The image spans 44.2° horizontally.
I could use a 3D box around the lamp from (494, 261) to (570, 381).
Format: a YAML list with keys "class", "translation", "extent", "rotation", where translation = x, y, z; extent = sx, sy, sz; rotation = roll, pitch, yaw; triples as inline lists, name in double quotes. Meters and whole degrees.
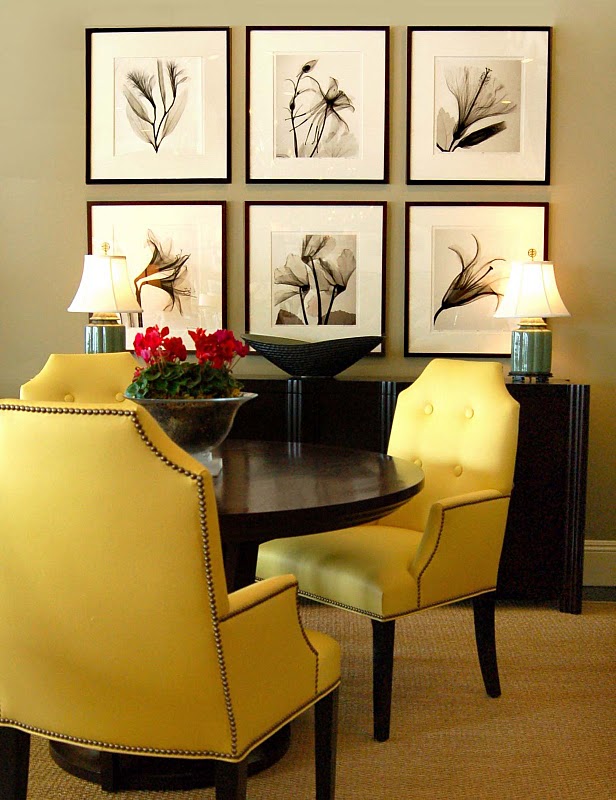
- class: "lamp"
  translation: [0.881, -0.337, 3.011]
  extent: [0.263, 0.514, 0.335]
  rotation: [1, 3, 13]

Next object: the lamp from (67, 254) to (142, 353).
- class: "lamp"
  translation: [-0.809, -0.350, 3.051]
  extent: [0.311, 0.425, 0.286]
  rotation: [3, 10, 14]

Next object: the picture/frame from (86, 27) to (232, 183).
- class: "picture/frame"
  translation: [-0.599, -1.256, 3.171]
  extent: [0.713, 0.646, 0.027]
  rotation: [1, 5, 4]

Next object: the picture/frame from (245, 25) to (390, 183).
- class: "picture/frame"
  translation: [0.061, -1.249, 3.140]
  extent: [0.704, 0.666, 0.029]
  rotation: [1, 5, -2]

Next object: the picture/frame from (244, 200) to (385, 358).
- class: "picture/frame"
  translation: [0.047, -0.527, 3.161]
  extent: [0.828, 0.783, 0.031]
  rotation: [0, 5, 4]

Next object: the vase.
- class: "vase"
  translation: [-0.230, 0.089, 1.717]
  extent: [0.245, 0.160, 0.255]
  rotation: [-7, -18, 36]

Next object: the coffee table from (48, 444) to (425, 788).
- class: "coffee table"
  translation: [-0.124, 0.455, 1.682]
  extent: [0.801, 0.439, 0.766]
  rotation: [0, 2, -3]

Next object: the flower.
- class: "flower"
  translation: [-0.274, -0.075, 1.715]
  extent: [0.216, 0.133, 0.178]
  rotation: [-1, -1, 7]

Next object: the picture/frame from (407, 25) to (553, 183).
- class: "picture/frame"
  translation: [0.726, -1.238, 3.112]
  extent: [0.701, 0.633, 0.026]
  rotation: [1, 3, 4]

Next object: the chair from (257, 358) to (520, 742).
- class: "chair"
  translation: [0.211, 0.352, 2.076]
  extent: [0.716, 0.854, 0.677]
  rotation: [-1, 7, -8]

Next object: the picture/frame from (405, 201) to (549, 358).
- class: "picture/frame"
  translation: [0.708, -0.526, 3.121]
  extent: [0.734, 0.718, 0.036]
  rotation: [1, 0, -1]
